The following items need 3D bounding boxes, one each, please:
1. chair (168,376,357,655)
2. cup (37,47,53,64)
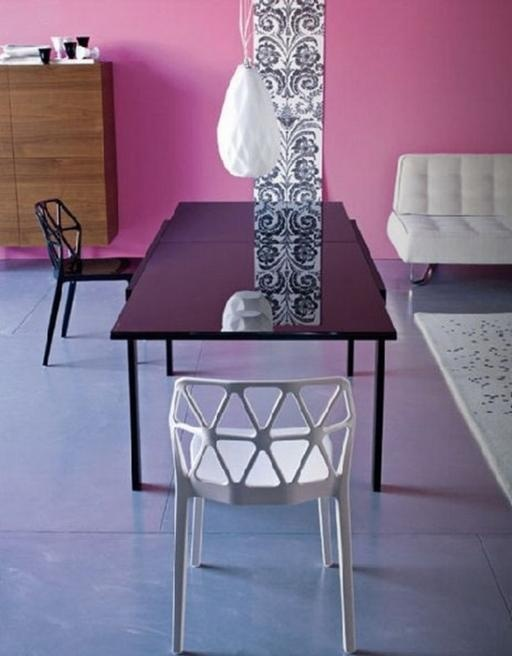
[{"bbox_3d":[0.016,0.461,1.461,0.359,0.608,0.416,0,36,-1],"label":"chair"},{"bbox_3d":[-1.389,-1.819,4.197,0.093,0.113,0.105,-2,24,-2],"label":"cup"}]
